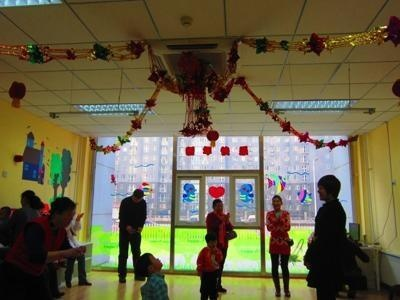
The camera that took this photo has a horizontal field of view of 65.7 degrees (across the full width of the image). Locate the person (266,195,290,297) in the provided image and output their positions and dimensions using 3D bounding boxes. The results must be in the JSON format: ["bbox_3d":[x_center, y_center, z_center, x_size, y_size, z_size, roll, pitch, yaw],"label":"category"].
[{"bbox_3d":[1.385,1.646,5.381,0.418,1.702,0.539,-2,-13,13],"label":"person"}]

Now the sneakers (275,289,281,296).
[{"bbox_3d":[1.315,2.431,5.305,0.113,0.121,0.073,-1,-6,6],"label":"sneakers"}]

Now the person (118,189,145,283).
[{"bbox_3d":[-1.328,1.655,5.957,0.486,1.761,0.744,9,-15,-34],"label":"person"}]

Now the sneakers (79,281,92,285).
[{"bbox_3d":[-2.175,2.523,5.911,0.249,0.105,0.083,2,-8,-9],"label":"sneakers"}]

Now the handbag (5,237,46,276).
[{"bbox_3d":[-1.335,0.816,2.386,0.285,0.315,0.295,7,-14,-29],"label":"handbag"}]

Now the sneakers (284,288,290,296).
[{"bbox_3d":[1.484,2.425,5.302,0.089,0.133,0.174,-3,-13,15],"label":"sneakers"}]
